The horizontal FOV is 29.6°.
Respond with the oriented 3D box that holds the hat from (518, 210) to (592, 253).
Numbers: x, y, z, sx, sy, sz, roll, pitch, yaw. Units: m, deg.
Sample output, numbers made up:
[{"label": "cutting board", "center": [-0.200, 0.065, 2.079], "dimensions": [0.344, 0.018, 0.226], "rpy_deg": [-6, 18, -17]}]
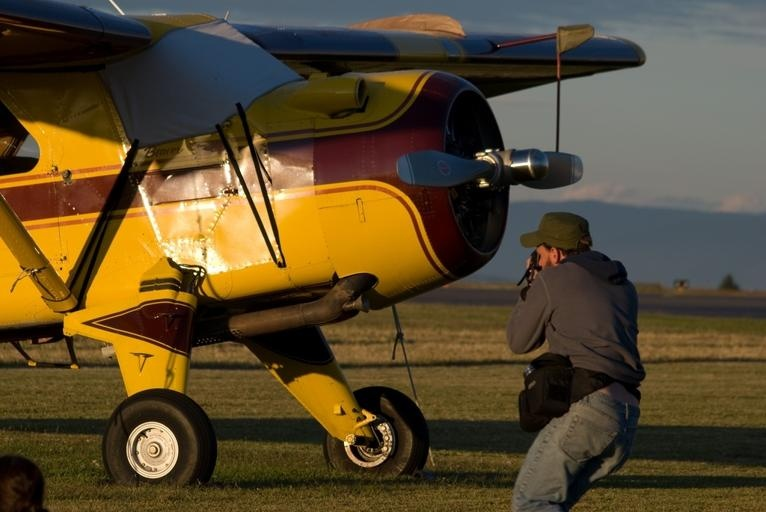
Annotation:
[{"label": "hat", "center": [1.643, -0.250, 13.913], "dimensions": [0.573, 0.234, 0.399], "rpy_deg": [8, 12, 30]}]
